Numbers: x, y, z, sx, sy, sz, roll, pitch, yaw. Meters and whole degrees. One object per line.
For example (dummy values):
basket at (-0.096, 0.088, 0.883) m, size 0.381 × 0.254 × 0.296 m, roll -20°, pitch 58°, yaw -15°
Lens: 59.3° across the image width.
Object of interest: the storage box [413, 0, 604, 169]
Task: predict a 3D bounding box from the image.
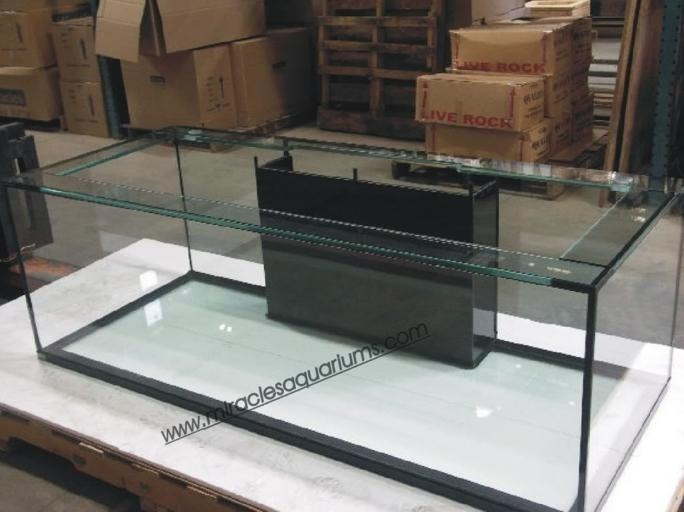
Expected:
storage box at (0.980, -1.033, 3.577) m, size 1.490 × 0.932 × 0.852 m, roll 9°, pitch 28°, yaw 24°
